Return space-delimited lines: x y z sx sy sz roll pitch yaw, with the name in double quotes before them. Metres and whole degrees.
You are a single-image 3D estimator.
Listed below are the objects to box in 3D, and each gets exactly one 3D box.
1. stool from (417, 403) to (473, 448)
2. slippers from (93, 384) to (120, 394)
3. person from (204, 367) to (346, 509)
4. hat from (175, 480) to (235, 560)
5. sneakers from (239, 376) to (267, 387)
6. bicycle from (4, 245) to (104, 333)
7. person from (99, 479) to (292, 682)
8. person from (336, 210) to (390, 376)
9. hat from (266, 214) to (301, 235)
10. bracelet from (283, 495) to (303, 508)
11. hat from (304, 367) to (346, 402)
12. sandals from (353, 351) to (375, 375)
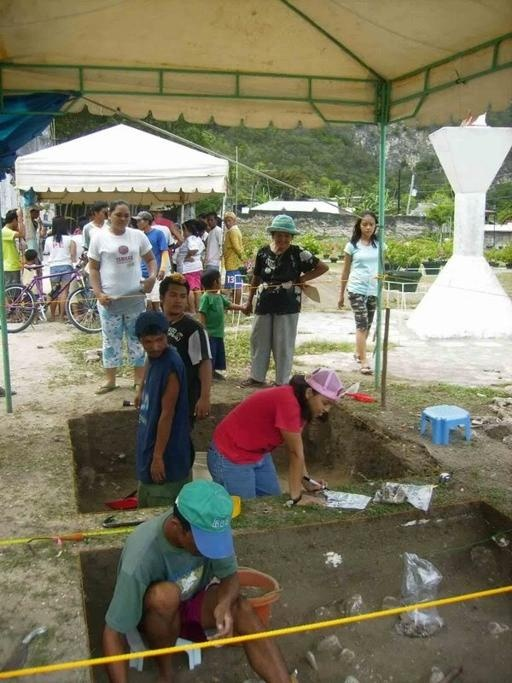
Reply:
"stool" 1.462 0.632 4.246 0.407 0.209 0.417 1 8 4
"slippers" -1.424 0.468 5.387 0.185 0.068 0.072 -1 0 -42
"person" 0.156 0.648 3.556 0.855 1.201 0.422 13 33 9
"hat" -0.155 0.581 1.795 0.178 0.223 0.183 -2 10 -19
"sneakers" -0.037 0.434 5.878 0.224 0.188 0.106 7 0 1
"bicycle" -3.302 -0.708 9.186 2.013 1.105 0.905 -3 4 -7
"person" -0.228 0.831 1.906 0.587 0.751 0.412 -4 11 -26
"person" 1.152 -0.548 6.405 0.433 1.823 0.937 3 10 11
"hat" 0.254 -1.067 4.998 0.274 0.126 0.260 5 -4 2
"bracelet" 0.211 0.881 3.052 0.060 0.034 0.075 -2 -16 -27
"hat" 0.348 0.223 2.887 0.194 0.171 0.171 2 9 5
"sandals" 1.261 0.302 6.512 0.123 0.143 0.368 -6 2 -5
